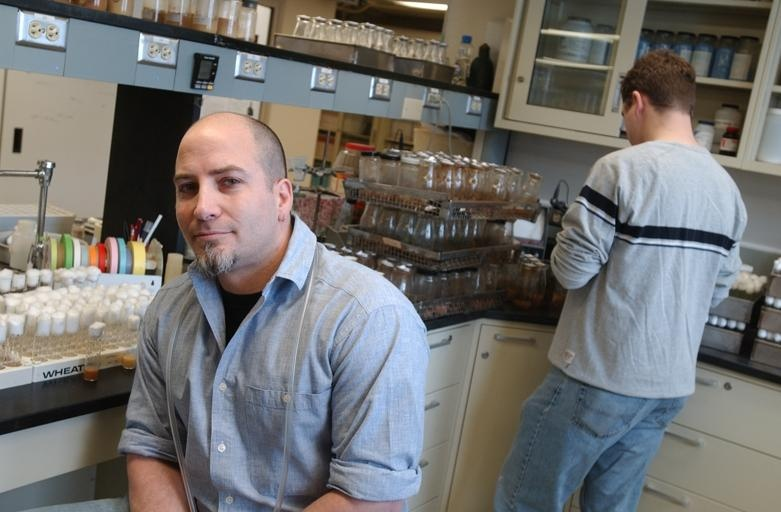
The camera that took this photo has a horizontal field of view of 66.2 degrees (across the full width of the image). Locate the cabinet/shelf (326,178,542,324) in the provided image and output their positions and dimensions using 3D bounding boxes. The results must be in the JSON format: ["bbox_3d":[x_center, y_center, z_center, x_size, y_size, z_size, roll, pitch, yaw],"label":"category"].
[{"bbox_3d":[0.210,-0.001,2.970,0.657,0.511,0.963,9,5,41],"label":"cabinet/shelf"}]

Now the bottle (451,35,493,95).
[{"bbox_3d":[0.592,-1.292,4.053,0.254,0.339,0.321,10,11,29],"label":"bottle"}]

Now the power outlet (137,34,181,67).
[{"bbox_3d":[-0.925,-0.820,2.388,0.129,0.100,0.013,-7,20,-39],"label":"power outlet"}]

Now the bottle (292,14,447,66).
[{"bbox_3d":[-0.109,-1.240,3.448,0.363,0.182,1.021,14,14,40],"label":"bottle"}]

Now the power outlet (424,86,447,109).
[{"bbox_3d":[0.272,-0.949,3.611,0.148,0.116,0.037,-3,12,-35],"label":"power outlet"}]
